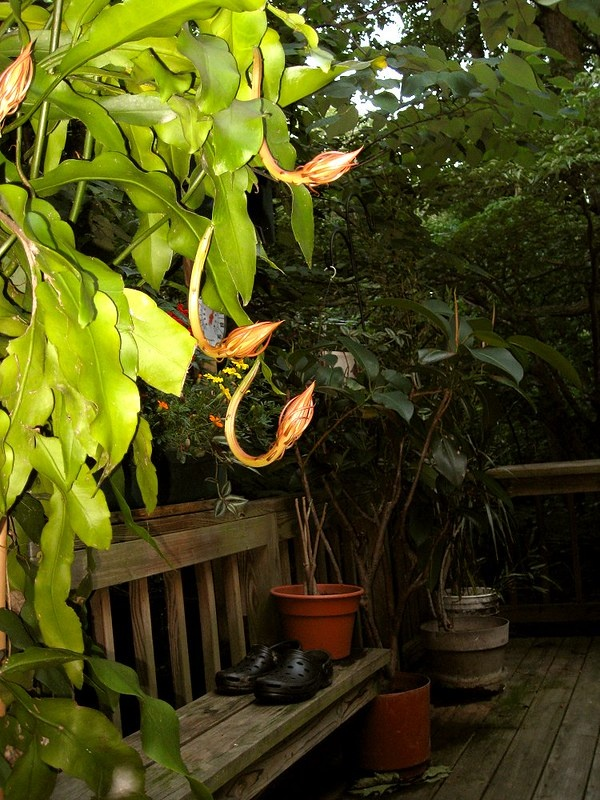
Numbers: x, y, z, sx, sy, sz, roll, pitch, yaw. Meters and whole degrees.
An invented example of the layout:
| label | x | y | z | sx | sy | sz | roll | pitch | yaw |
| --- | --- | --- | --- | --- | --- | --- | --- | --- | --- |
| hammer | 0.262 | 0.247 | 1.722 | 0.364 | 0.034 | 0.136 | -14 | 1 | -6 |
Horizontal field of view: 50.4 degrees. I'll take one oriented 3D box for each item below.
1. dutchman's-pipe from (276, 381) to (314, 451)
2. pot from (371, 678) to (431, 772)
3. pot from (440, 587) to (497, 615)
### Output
| label | x | y | z | sx | sy | sz | roll | pitch | yaw |
| --- | --- | --- | --- | --- | --- | --- | --- | --- | --- |
| dutchman's-pipe | -0.005 | 0.015 | 0.688 | 0.041 | 0.073 | 0.038 | 4 | 4 | 19 |
| pot | 0.299 | 0.989 | 2.015 | 0.210 | 0.267 | 0.200 | 2 | 3 | 0 |
| pot | 0.709 | 0.827 | 2.617 | 0.148 | 0.109 | 0.152 | -1 | -17 | 0 |
